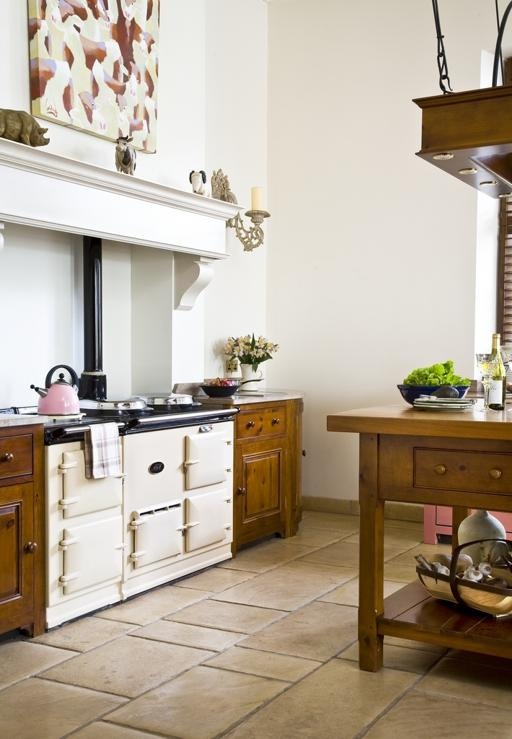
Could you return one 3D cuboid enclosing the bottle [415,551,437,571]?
[{"bbox_3d":[0.576,0.655,2.098,0.065,0.019,0.045,24,21,22],"label":"bottle"}]

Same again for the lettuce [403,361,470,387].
[{"bbox_3d":[0.711,0.038,2.410,0.162,0.084,0.160,-3,-5,26],"label":"lettuce"}]

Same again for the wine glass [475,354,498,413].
[{"bbox_3d":[0.808,0.030,2.159,0.071,0.225,0.071,-6,28,10],"label":"wine glass"}]

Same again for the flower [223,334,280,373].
[{"bbox_3d":[-0.036,-0.093,4.334,0.283,0.203,0.289,-3,-3,29],"label":"flower"}]

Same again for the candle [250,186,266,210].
[{"bbox_3d":[0.011,-1.018,3.691,0.064,0.167,0.087,-2,-5,12],"label":"candle"}]

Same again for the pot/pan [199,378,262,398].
[{"bbox_3d":[-0.200,0.111,3.649,0.223,0.115,0.163,1,-5,-23],"label":"pot/pan"}]

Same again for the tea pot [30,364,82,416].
[{"bbox_3d":[-0.832,0.082,2.576,0.155,0.220,0.238,4,2,29],"label":"tea pot"}]

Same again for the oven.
[{"bbox_3d":[-0.602,0.627,2.922,0.412,0.765,1.204,-1,-1,33],"label":"oven"}]

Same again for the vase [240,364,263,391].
[{"bbox_3d":[-0.033,0.061,4.351,0.128,0.185,0.195,-4,-6,28],"label":"vase"}]

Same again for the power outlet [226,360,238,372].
[{"bbox_3d":[-0.173,-0.030,4.409,0.082,0.084,0.013,-2,9,-22],"label":"power outlet"}]
